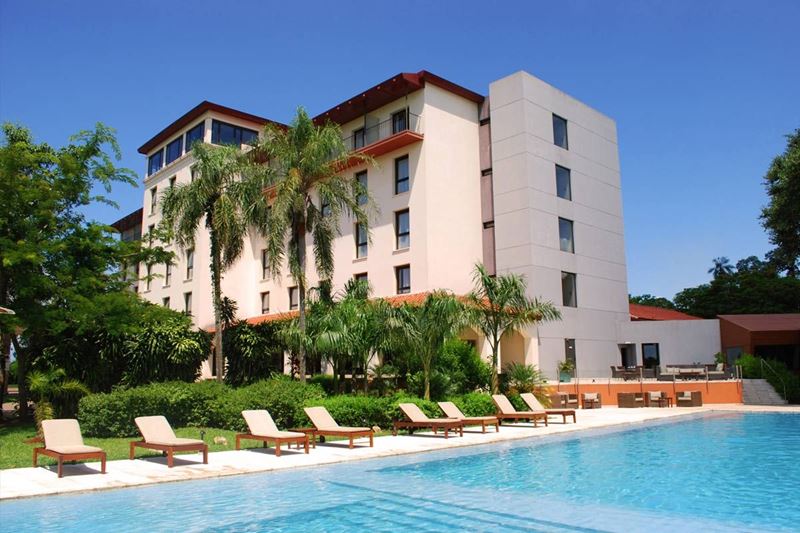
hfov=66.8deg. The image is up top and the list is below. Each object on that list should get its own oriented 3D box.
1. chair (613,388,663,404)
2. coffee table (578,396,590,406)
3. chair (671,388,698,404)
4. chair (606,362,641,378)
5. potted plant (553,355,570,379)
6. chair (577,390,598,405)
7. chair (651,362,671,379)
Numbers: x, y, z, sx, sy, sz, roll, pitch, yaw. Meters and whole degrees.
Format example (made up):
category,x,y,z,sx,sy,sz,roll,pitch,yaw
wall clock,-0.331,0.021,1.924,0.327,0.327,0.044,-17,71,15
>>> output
category,x,y,z,sx,sy,sz,roll,pitch,yaw
chair,12.986,7.037,32.945,2.763,0.914,0.804,1,2,-2
coffee table,9.986,7.325,32.959,0.488,0.380,0.484,10,-15,-43
chair,15.120,6.980,32.447,0.881,0.889,0.963,-11,-23,38
chair,13.489,6.291,36.979,1.126,0.747,1.181,1,-6,-1
potted plant,9.551,5.937,35.652,1.193,1.302,1.146,0,-10,0
chair,10.194,7.259,33.330,0.849,0.926,0.958,0,-14,13
chair,15.207,5.868,35.534,1.209,0.911,0.913,-6,-16,26
